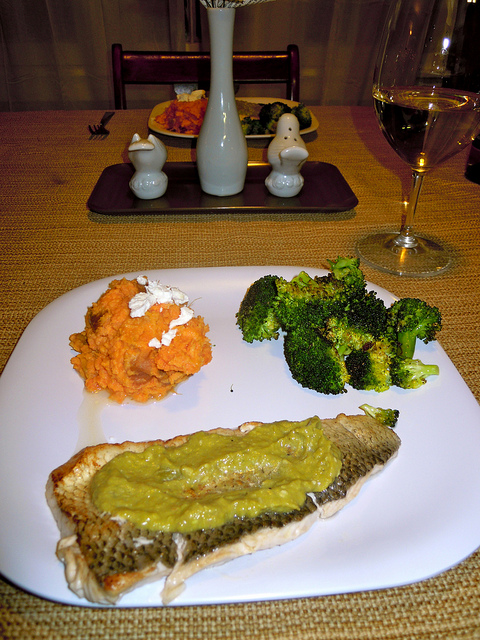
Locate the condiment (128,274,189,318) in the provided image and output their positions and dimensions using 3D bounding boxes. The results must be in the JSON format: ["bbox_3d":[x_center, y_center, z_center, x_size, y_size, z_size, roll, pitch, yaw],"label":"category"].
[{"bbox_3d":[-0.215,-0.058,1.265,0.121,0.038,0.102,9,52,-9],"label":"condiment"}]

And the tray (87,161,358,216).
[{"bbox_3d":[-0.076,-0.578,2.143,1.083,0.061,0.498,-1,41,-5],"label":"tray"}]

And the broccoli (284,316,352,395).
[{"bbox_3d":[0.212,0.089,1.265,0.131,0.168,0.163,-23,29,-38],"label":"broccoli"}]

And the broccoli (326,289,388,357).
[{"bbox_3d":[0.316,0.010,1.330,0.143,0.153,0.122,-1,19,5],"label":"broccoli"}]

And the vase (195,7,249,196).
[{"bbox_3d":[-0.070,-0.841,1.962,0.223,0.686,0.219,-12,44,-16],"label":"vase"}]

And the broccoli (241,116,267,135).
[{"bbox_3d":[0.069,-1.000,2.589,0.192,0.094,0.150,4,27,2],"label":"broccoli"}]

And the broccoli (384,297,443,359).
[{"bbox_3d":[0.438,0.009,1.308,0.125,0.156,0.112,-1,19,-8],"label":"broccoli"}]

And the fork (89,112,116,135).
[{"bbox_3d":[-0.762,-1.079,2.767,0.085,0.095,0.241,0,41,-2],"label":"fork"}]

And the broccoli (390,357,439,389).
[{"bbox_3d":[0.418,0.126,1.229,0.093,0.067,0.105,-2,10,-25],"label":"broccoli"}]

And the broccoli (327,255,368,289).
[{"bbox_3d":[0.304,-0.137,1.399,0.075,0.041,0.097,-39,36,13],"label":"broccoli"}]

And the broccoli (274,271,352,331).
[{"bbox_3d":[0.196,-0.041,1.410,0.280,0.258,0.090,2,61,-21],"label":"broccoli"}]

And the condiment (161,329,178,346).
[{"bbox_3d":[-0.176,0.043,1.213,0.026,0.009,0.042,10,45,2],"label":"condiment"}]

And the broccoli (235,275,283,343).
[{"bbox_3d":[0.053,-0.032,1.363,0.141,0.151,0.164,-3,19,-1],"label":"broccoli"}]

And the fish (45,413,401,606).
[{"bbox_3d":[-0.021,0.291,0.999,0.695,0.101,0.376,-20,46,-25],"label":"fish"}]
